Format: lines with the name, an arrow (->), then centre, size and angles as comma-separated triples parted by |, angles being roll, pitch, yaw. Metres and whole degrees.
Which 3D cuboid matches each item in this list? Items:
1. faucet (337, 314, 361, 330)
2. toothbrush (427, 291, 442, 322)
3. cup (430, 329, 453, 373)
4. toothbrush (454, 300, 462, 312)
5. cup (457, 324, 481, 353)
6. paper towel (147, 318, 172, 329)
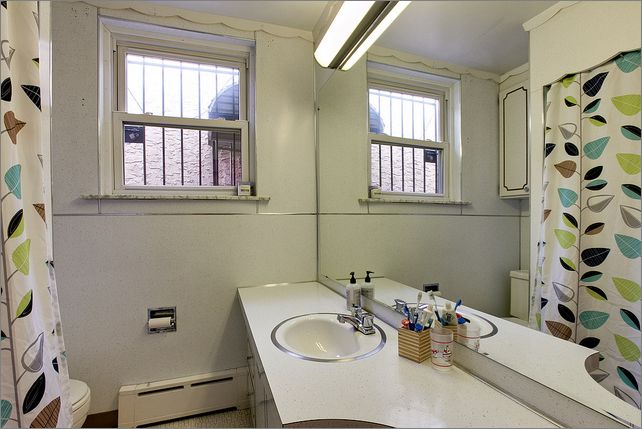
faucet -> 0.141, 0.526, 2.200 | 0.040, 0.066, 0.181 | 15, -7, -24
toothbrush -> 0.504, 0.398, 1.929 | 0.024, 0.134, 0.053 | -4, -13, -33
cup -> 0.509, 0.567, 1.847 | 0.137, 0.149, 0.138 | 0, -1, 0
toothbrush -> 0.574, 0.379, 1.859 | 0.017, 0.057, 0.014 | 11, 24, 0
cup -> 0.619, 0.517, 1.852 | 0.086, 0.099, 0.098 | -3, 4, -43
paper towel -> -0.985, 0.668, 2.693 | 0.134, 0.071, 0.039 | -3, 4, -20
